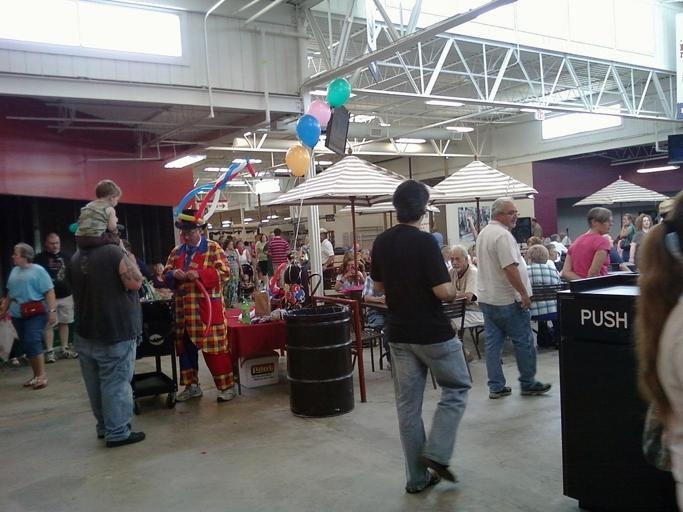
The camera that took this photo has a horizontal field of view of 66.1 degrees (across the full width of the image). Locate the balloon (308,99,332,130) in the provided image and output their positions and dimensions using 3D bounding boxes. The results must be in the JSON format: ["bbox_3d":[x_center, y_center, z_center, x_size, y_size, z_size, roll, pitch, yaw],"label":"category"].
[{"bbox_3d":[-0.280,-1.845,6.863,0.377,0.471,0.381,-3,5,-7],"label":"balloon"}]

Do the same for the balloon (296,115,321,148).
[{"bbox_3d":[-0.408,-1.579,6.586,0.271,0.426,0.459,-4,4,-1],"label":"balloon"}]

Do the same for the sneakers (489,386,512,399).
[{"bbox_3d":[1.573,1.363,5.231,0.229,0.107,0.097,-11,11,-27],"label":"sneakers"}]

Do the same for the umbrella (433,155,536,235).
[{"bbox_3d":[1.975,-0.946,7.415,1.236,0.993,1.243,-2,1,2],"label":"umbrella"}]

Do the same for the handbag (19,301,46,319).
[{"bbox_3d":[-3.912,0.687,6.671,0.265,0.182,0.203,-5,-12,-35],"label":"handbag"}]

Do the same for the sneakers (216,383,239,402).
[{"bbox_3d":[-1.231,1.517,5.772,0.106,0.213,0.310,-7,-11,24],"label":"sneakers"}]

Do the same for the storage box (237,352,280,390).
[{"bbox_3d":[-0.969,1.326,6.240,0.607,0.455,0.335,-2,-2,-34],"label":"storage box"}]

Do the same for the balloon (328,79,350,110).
[{"bbox_3d":[-0.038,-2.122,6.745,0.270,0.394,0.390,-4,4,3],"label":"balloon"}]

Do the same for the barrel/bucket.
[{"bbox_3d":[-0.210,1.024,5.206,0.692,1.005,0.666,-5,2,0],"label":"barrel/bucket"}]

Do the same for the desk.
[{"bbox_3d":[-1.222,1.208,6.325,1.007,0.772,0.814,-14,-15,36],"label":"desk"}]

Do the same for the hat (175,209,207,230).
[{"bbox_3d":[-1.646,-0.382,5.660,0.253,0.143,0.219,3,3,11],"label":"hat"}]

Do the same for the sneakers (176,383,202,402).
[{"bbox_3d":[-1.695,1.547,5.934,0.355,0.164,0.135,7,-8,-39],"label":"sneakers"}]

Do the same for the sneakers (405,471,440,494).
[{"bbox_3d":[0.551,1.525,3.575,0.276,0.125,0.092,-5,3,-38],"label":"sneakers"}]

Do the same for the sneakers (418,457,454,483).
[{"bbox_3d":[0.604,1.407,3.439,0.255,0.078,0.101,37,6,-1],"label":"sneakers"}]

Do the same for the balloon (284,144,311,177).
[{"bbox_3d":[-0.573,-1.244,6.911,0.337,0.404,0.336,8,-15,-33],"label":"balloon"}]

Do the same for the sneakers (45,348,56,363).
[{"bbox_3d":[-4.505,1.551,8.149,0.137,0.110,0.319,2,2,-31],"label":"sneakers"}]
